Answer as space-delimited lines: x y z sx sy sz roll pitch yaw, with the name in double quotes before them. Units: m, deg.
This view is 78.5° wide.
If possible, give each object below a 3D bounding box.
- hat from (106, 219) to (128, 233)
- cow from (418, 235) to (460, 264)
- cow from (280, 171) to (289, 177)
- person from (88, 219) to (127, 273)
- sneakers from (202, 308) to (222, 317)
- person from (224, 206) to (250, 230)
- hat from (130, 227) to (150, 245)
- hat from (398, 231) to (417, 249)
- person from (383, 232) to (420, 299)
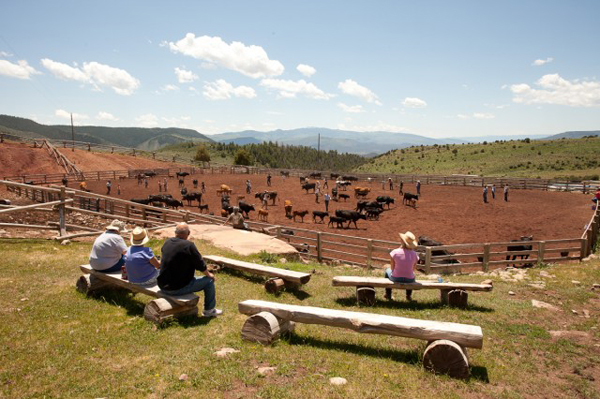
"hat" -5.847 0.850 11.883 0.613 0.215 0.658 14 -15 3
"cow" 6.282 2.411 16.566 1.321 0.557 1.717 19 24 34
"cow" -2.387 -4.528 63.969 1.652 0.901 1.288 -1 12 -19
"person" -4.836 1.159 9.712 0.933 1.221 1.308 5 5 24
"sneakers" -2.129 2.780 8.954 0.458 0.182 0.175 -2 8 -16
"person" -2.985 0.830 17.729 0.935 1.159 1.347 0 12 -17
"hat" -3.881 0.839 8.928 0.397 0.494 0.195 -7 -26 -15
"hat" 3.077 1.137 10.365 0.404 0.569 0.775 8 13 21
"person" 2.867 1.609 10.237 0.796 1.467 0.480 6 13 14
